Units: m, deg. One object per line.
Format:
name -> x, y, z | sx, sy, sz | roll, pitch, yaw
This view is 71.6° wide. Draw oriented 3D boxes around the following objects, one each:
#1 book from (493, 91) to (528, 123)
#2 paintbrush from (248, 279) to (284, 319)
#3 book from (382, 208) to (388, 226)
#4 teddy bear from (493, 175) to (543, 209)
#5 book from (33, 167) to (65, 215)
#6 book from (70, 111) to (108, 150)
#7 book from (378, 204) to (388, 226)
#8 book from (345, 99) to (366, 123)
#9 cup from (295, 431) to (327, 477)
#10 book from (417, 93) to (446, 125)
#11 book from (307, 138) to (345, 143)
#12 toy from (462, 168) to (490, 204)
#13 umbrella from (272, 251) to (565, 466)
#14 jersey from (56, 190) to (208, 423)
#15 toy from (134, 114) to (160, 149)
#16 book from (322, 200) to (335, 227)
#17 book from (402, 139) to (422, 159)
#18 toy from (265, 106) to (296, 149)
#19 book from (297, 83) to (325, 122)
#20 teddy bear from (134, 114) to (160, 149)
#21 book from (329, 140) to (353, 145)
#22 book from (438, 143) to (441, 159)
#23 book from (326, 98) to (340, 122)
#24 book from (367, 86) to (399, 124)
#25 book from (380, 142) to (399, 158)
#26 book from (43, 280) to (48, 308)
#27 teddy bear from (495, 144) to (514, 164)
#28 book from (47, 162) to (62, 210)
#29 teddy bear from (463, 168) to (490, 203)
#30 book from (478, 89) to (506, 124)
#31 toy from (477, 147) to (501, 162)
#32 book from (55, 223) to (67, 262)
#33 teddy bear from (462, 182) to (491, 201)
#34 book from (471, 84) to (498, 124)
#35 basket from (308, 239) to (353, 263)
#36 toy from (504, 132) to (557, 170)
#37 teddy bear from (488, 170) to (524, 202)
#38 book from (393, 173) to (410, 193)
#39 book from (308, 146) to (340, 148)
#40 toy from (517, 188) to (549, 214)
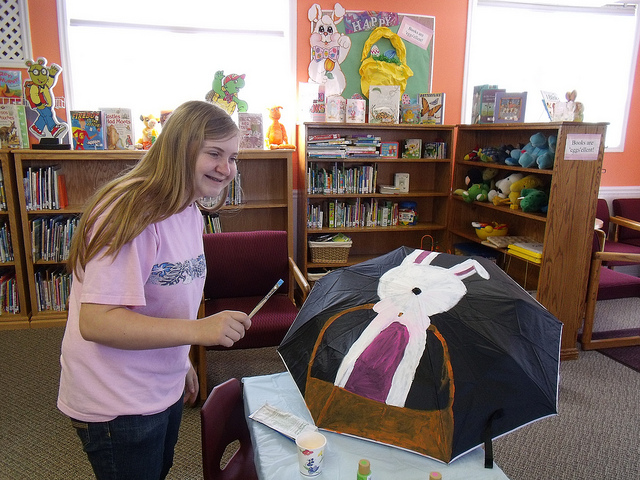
book -> 1.577, -1.087, 3.682 | 0.242, 0.289, 0.030 | 7, -16, 20
paintbrush -> -0.380, 0.407, 3.037 | 0.036, 0.403, 0.063 | 36, 13, -16
book -> 0.635, -0.236, 4.358 | 0.047, 0.147, 0.145 | 0, 12, -6
teddy bear -> 1.667, -0.409, 3.743 | 0.372, 0.267, 0.221 | 4, 13, 25
book -> -2.311, -0.415, 3.766 | 0.192, 0.339, 0.335 | 1, 9, -14
book -> -1.913, -0.914, 3.669 | 0.288, 0.350, 0.121 | 1, 17, -9
book -> 0.620, -0.247, 4.363 | 0.060, 0.178, 0.177 | -1, 12, -8
book -> 0.313, -1.175, 4.036 | 0.187, 0.221, 0.121 | 4, 25, -1
cup -> -0.032, 0.760, 1.574 | 0.106, 0.096, 0.120 | 1, 1, -1
book -> 1.044, -1.240, 4.198 | 0.292, 0.396, 0.037 | 3, 14, 10
book -> 0.056, -0.903, 4.043 | 0.327, 0.027, 0.067 | -5, 12, -17
toy -> 1.468, -0.550, 4.217 | 0.222, 0.351, 0.247 | -25, 25, -16
umbrella -> 0.386, 0.458, 1.816 | 1.128, 0.692, 0.586 | 2, 12, 17
jersey -> -0.613, 0.251, 1.492 | 0.336, 0.781, 0.419 | -3, 17, -18
toy -> -1.516, -0.953, 3.897 | 0.300, 0.297, 0.181 | -13, 16, -43
book -> 0.077, -0.244, 4.242 | 0.065, 0.200, 0.207 | 0, 13, -7
book -> 0.894, -0.889, 4.336 | 0.191, 0.199, 0.070 | 0, 5, 2
toy -> -0.402, -1.021, 4.044 | 0.269, 0.408, 0.276 | -8, 8, -23
book -> -0.075, -1.242, 4.013 | 0.230, 0.338, 0.103 | 0, 12, 6
teddy bear -> -1.500, -0.939, 3.890 | 0.212, 0.313, 0.183 | 8, 2, -13
book -> 0.197, -0.901, 4.093 | 0.235, 0.039, 0.068 | -10, 14, -35
book -> 1.176, -0.879, 4.369 | 0.028, 0.145, 0.014 | -5, 12, -18
book -> 0.114, -1.160, 3.967 | 0.120, 0.207, 0.044 | -1, 12, 1
book -> 0.600, -1.246, 4.108 | 0.318, 0.337, 0.167 | -3, 12, -7
book -> 0.659, -0.864, 4.274 | 0.174, 0.166, 0.063 | -1, 8, -11
book -> -2.402, 0.477, 3.888 | 0.046, 0.243, 0.013 | -7, 13, -24
teddy bear -> 1.621, -0.761, 3.870 | 0.045, 0.164, 0.157 | 21, -5, -20
book -> -2.267, -0.438, 3.782 | 0.054, 0.373, 0.321 | 4, 10, -8
teddy bear -> 1.475, -0.518, 4.185 | 0.233, 0.304, 0.291 | 3, 12, 19
book -> 1.505, -1.186, 3.887 | 0.197, 0.340, 0.041 | 8, 48, 24
toy -> 1.522, -0.775, 4.022 | 0.164, 0.063, 0.123 | 2, 16, 42
book -> -2.233, 0.020, 3.819 | 0.042, 0.331, 0.278 | 7, 7, -11
teddy bear -> 1.480, -0.451, 4.122 | 0.169, 0.083, 0.173 | 15, 46, 42
book -> 1.448, -1.258, 4.088 | 0.254, 0.383, 0.247 | -5, 14, -19
basket -> 0.102, 0.100, 4.164 | 0.286, 0.141, 0.217 | 0, 4, -9
toy -> 1.681, -0.694, 3.458 | 0.198, 0.270, 0.565 | -3, 12, -9
teddy bear -> 1.641, -0.473, 3.932 | 0.356, 0.125, 0.230 | -48, 43, -8
book -> 0.808, -0.568, 4.425 | 0.145, 0.188, 0.177 | -1, 12, 3
book -> 0.035, -0.848, 4.047 | 0.278, 0.017, 0.053 | -6, 13, -22
toy -> 1.696, -0.316, 3.533 | 0.206, 0.161, 0.093 | -23, 14, 36
